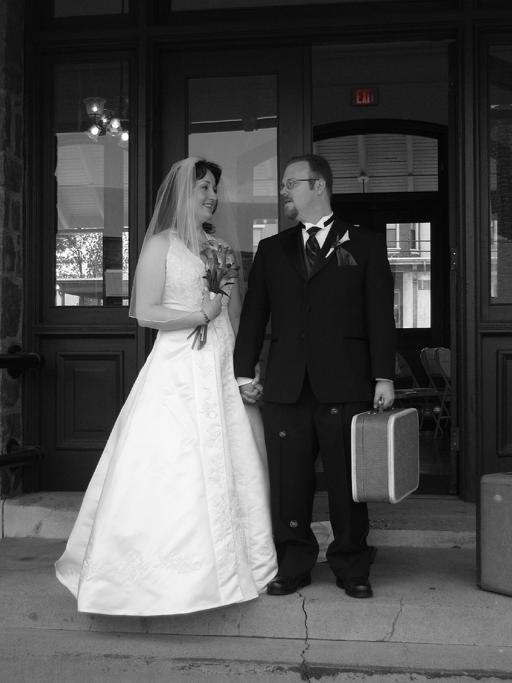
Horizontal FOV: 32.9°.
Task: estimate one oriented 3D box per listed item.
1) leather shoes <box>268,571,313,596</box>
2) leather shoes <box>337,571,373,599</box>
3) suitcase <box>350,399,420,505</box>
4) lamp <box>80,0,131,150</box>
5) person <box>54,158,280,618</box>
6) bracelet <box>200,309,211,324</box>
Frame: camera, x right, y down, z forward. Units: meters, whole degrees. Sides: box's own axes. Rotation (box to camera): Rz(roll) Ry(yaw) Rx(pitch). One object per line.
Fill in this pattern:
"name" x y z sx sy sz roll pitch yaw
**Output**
"leather shoes" 0.125 0.861 3.074 0.164 0.075 0.056 7 -9 -42
"leather shoes" 0.344 0.860 3.020 0.055 0.068 0.150 4 -12 -23
"suitcase" 0.428 0.376 2.943 0.130 0.359 0.362 -1 0 24
"lamp" -0.759 -1.352 4.369 0.248 0.716 0.072 0 8 15
"person" -0.329 0.136 3.086 0.771 1.569 0.824 -4 8 -14
"bracelet" -0.185 -0.087 3.181 0.015 0.044 0.034 -18 6 -30
